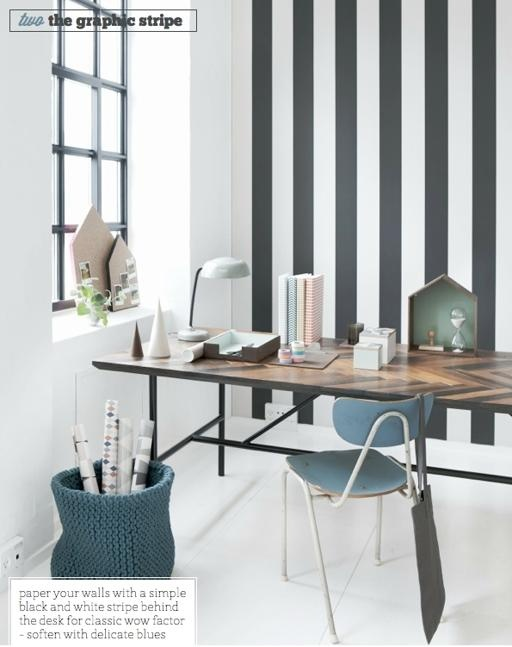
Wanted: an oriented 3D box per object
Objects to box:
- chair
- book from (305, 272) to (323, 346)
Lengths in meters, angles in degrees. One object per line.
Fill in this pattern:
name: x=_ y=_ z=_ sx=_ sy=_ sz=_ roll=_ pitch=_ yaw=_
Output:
chair: x=0.290 y=0.503 z=1.697 sx=0.399 sy=0.690 sz=0.500 roll=0 pitch=6 yaw=-8
book: x=0.242 y=-0.057 z=2.363 sx=0.081 sy=0.281 sz=0.243 roll=2 pitch=8 yaw=12
